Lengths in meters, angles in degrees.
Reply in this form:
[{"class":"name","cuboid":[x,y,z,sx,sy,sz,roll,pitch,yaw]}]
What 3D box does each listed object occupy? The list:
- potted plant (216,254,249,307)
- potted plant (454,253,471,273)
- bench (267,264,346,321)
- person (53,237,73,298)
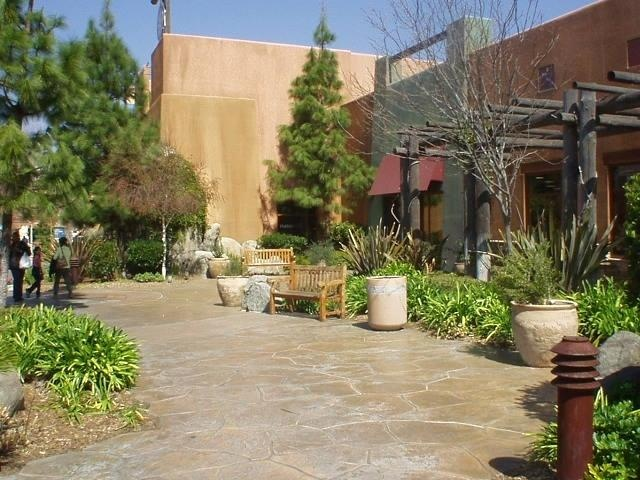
[{"class":"potted plant","cuboid":[-2.242,1.120,14.050,1.113,1.294,1.236,0,-4,7]},{"class":"potted plant","cuboid":[4.119,0.726,15.299,0.469,0.540,0.530,1,-3,-1]},{"class":"bench","cuboid":[-0.309,1.198,11.928,0.753,1.260,1.797,4,-4,-43]},{"class":"person","cuboid":[-7.717,0.880,16.059,0.513,1.809,1.159,-2,3,-27]}]
